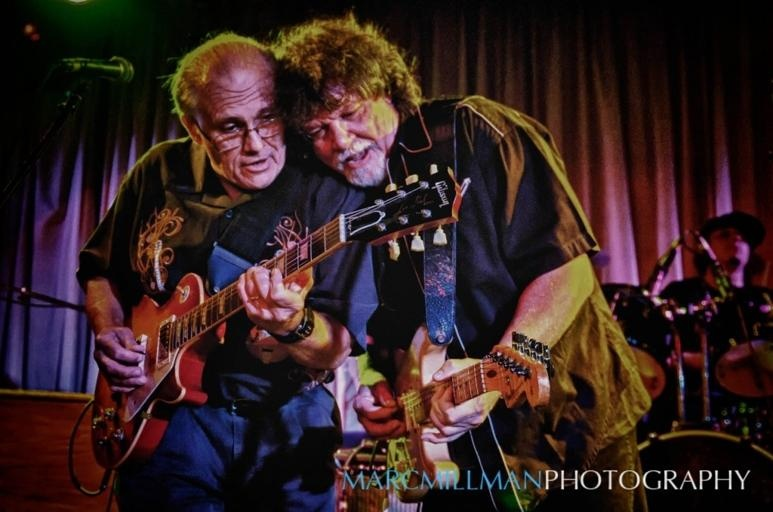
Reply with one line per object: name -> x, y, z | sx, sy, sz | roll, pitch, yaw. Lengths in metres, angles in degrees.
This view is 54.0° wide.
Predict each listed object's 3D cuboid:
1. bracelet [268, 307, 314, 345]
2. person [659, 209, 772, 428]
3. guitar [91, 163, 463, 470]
bracelet -> -0.446, 0.348, 3.759 | 0.173, 0.071, 0.185 | -34, -55, 22
person -> 1.646, 0.305, 3.720 | 0.572, 0.954, 0.208 | 2, -6, 21
guitar -> -0.636, 0.434, 3.919 | 2.596, 1.052, 0.349 | -35, -38, 32
